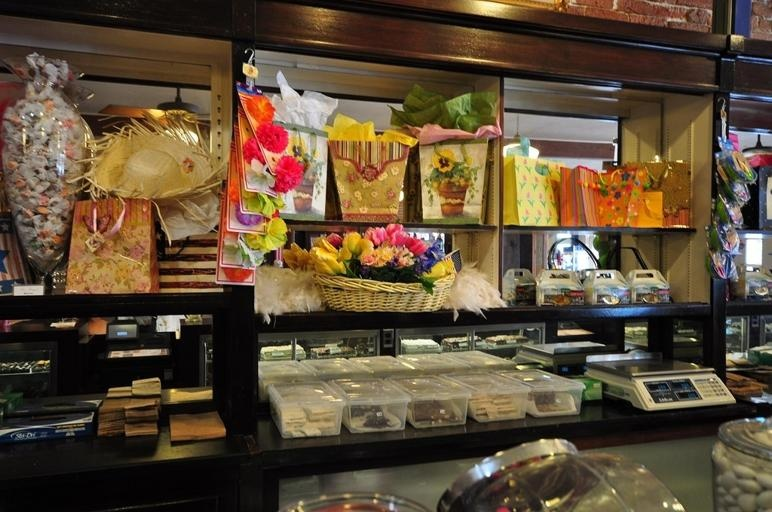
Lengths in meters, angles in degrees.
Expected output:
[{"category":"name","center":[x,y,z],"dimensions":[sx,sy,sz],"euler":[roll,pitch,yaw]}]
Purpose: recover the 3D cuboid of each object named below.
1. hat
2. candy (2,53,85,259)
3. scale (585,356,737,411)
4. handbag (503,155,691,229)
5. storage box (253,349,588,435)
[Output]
[{"category":"hat","center":[-1.028,-0.398,2.617],"dimensions":[0.495,0.309,0.128],"euler":[-5,1,-11]},{"category":"candy","center":[-1.461,-0.407,2.598],"dimensions":[0.316,0.888,0.307],"euler":[-2,7,-42]},{"category":"scale","center":[1.466,0.683,3.261],"dimensions":[0.602,0.204,0.555],"euler":[0,-2,-11]},{"category":"handbag","center":[1.114,-0.335,3.384],"dimensions":[1.072,0.368,0.612],"euler":[3,-1,-6]},{"category":"storage box","center":[0.141,0.665,3.005],"dimensions":[1.521,0.375,0.518],"euler":[-5,2,-14]}]
